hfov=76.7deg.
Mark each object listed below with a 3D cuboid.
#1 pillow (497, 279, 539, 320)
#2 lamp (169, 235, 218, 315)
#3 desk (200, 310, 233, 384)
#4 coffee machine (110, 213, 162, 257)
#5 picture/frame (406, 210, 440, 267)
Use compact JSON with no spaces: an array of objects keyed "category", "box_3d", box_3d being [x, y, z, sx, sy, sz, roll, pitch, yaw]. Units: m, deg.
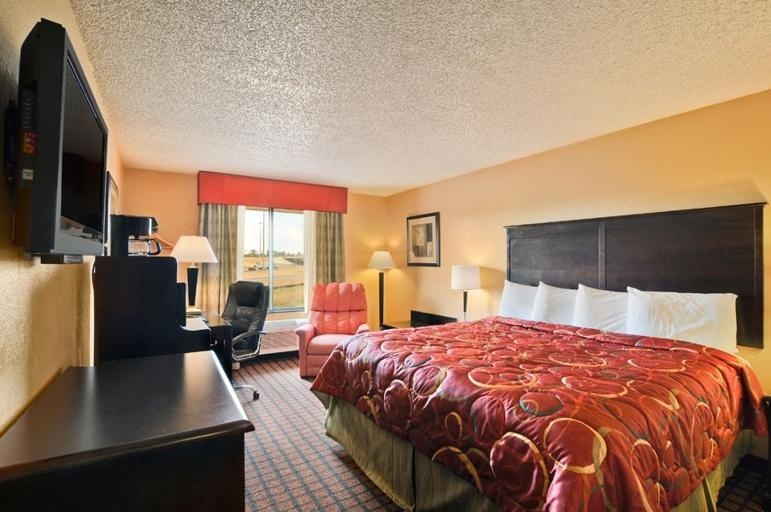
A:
[{"category":"pillow","box_3d":[1.367,0.463,5.083,0.116,0.344,0.381,28,-14,-40]},{"category":"lamp","box_3d":[-2.056,0.040,5.192,0.527,0.509,0.499,0,2,-2]},{"category":"desk","box_3d":[-1.235,0.669,3.594,0.223,0.338,0.693,-5,7,-29]},{"category":"coffee machine","box_3d":[-1.952,-0.154,3.838,0.279,0.307,0.632,2,-2,-19]},{"category":"picture/frame","box_3d":[0.545,-0.250,6.839,0.062,0.807,0.819,1,-3,-31]}]
